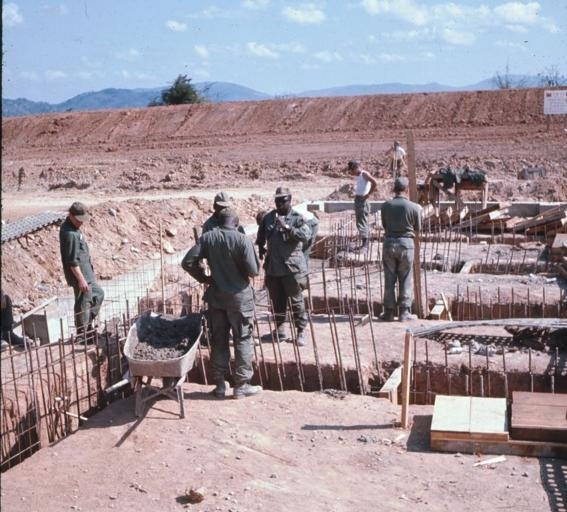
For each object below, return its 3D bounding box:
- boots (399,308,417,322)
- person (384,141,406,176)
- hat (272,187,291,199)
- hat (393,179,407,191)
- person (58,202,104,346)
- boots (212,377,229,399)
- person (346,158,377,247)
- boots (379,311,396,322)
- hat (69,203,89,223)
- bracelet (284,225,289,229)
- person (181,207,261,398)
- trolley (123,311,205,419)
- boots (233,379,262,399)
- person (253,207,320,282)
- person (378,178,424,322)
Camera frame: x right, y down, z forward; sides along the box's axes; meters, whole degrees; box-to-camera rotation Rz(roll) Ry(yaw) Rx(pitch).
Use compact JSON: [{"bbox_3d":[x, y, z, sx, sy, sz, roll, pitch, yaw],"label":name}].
[{"bbox_3d":[1.561,0.715,8.020,0.110,0.204,0.229,6,19,41],"label":"boots"},{"bbox_3d":[3.406,-2.861,19.406,0.457,1.329,0.377,-4,27,7],"label":"person"},{"bbox_3d":[-0.013,-0.663,6.748,0.163,0.123,0.286,-1,9,-2],"label":"hat"},{"bbox_3d":[1.387,-0.851,7.684,0.129,0.172,0.163,1,5,4],"label":"hat"},{"bbox_3d":[-2.140,0.193,6.787,0.420,1.530,1.122,-3,9,-17],"label":"person"},{"bbox_3d":[-0.616,1.288,6.289,0.086,0.162,0.218,-1,13,3],"label":"boots"},{"bbox_3d":[1.326,-0.821,10.967,0.442,1.566,1.120,1,9,6],"label":"person"},{"bbox_3d":[1.290,0.741,8.055,0.194,0.205,0.094,11,11,43],"label":"boots"},{"bbox_3d":[-2.133,-0.473,6.655,0.154,0.118,0.210,-25,50,-35],"label":"hat"},{"bbox_3d":[0.021,-0.307,6.721,0.035,0.038,0.008,5,-17,-39],"label":"bracelet"},{"bbox_3d":[-0.554,0.470,6.012,0.660,1.813,0.300,-1,9,-3],"label":"person"},{"bbox_3d":[-1.127,0.983,5.806,0.675,0.659,1.283,2,10,-9],"label":"trolley"},{"bbox_3d":[-0.367,1.301,6.264,0.294,0.147,0.116,-5,7,-33],"label":"boots"},{"bbox_3d":[-0.029,-0.101,6.987,0.621,0.971,0.465,2,9,13],"label":"person"},{"bbox_3d":[1.423,-0.060,7.830,0.474,1.774,0.393,1,9,9],"label":"person"}]
